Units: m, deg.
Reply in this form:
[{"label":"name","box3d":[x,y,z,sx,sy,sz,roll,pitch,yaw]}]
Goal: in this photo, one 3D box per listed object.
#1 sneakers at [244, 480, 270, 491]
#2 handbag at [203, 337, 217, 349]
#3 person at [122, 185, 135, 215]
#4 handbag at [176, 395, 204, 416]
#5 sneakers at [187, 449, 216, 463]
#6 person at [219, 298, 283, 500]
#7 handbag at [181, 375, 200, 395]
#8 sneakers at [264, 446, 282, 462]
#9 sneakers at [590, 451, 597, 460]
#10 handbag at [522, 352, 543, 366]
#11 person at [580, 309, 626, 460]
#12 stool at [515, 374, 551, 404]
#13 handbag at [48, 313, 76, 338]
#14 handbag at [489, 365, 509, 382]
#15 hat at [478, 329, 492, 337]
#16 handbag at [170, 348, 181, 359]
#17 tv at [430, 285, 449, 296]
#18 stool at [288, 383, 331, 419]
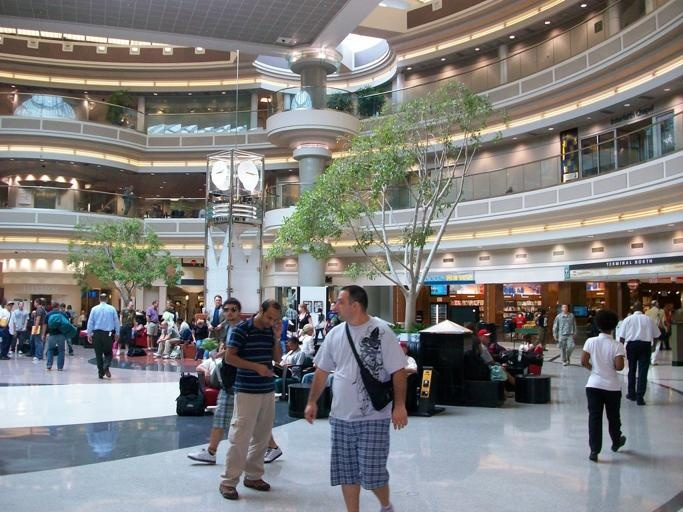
[{"label":"sneakers","box3d":[-0.982,2.650,7.069,0.290,0.114,0.118,0,-5,10]},{"label":"handbag","box3d":[-3.390,2.226,15.558,0.313,0.258,0.297,4,-7,-27]},{"label":"person","box3d":[-10.974,-2.717,31.236,0.365,1.466,0.724,0,-5,15]},{"label":"handbag","box3d":[-2.578,2.552,10.515,0.599,0.447,0.303,1,-14,-2]},{"label":"sneakers","box3d":[-1.846,2.561,7.871,0.411,0.175,0.153,6,-10,3]},{"label":"person","box3d":[-1.048,1.616,7.118,0.733,2.196,0.398,6,-7,-44]},{"label":"handbag","box3d":[-2.663,2.254,10.658,0.290,0.351,0.376,5,-27,-11]},{"label":"sneakers","box3d":[-0.906,2.646,8.173,0.136,0.170,0.404,-5,-8,32]},{"label":"sneakers","box3d":[3.396,2.679,8.181,0.102,0.113,0.144,0,-5,20]},{"label":"handbag","box3d":[4.353,2.350,13.920,0.519,0.207,0.326,1,0,16]},{"label":"person","box3d":[3.664,1.757,8.487,0.520,2.014,0.755,-1,-5,23]},{"label":"stool","box3d":[3.858,2.655,12.312,0.604,0.420,0.597,-2,-3,15]},{"label":"handbag","box3d":[-7.585,1.858,16.439,0.687,0.726,0.981,4,-5,-25]},{"label":"handbag","box3d":[3.186,2.376,12.379,0.317,0.334,0.433,0,-5,12]},{"label":"hat","box3d":[3.497,1.884,14.903,0.264,0.130,0.192,-16,-2,9]},{"label":"handbag","box3d":[-5.430,3.188,20.025,0.285,0.349,0.362,-3,-12,38]},{"label":"tv","box3d":[4.514,1.612,28.226,1.021,0.521,0.684,1,1,26]},{"label":"stool","box3d":[-0.588,2.555,10.679,0.760,0.527,0.765,1,-8,2]}]
